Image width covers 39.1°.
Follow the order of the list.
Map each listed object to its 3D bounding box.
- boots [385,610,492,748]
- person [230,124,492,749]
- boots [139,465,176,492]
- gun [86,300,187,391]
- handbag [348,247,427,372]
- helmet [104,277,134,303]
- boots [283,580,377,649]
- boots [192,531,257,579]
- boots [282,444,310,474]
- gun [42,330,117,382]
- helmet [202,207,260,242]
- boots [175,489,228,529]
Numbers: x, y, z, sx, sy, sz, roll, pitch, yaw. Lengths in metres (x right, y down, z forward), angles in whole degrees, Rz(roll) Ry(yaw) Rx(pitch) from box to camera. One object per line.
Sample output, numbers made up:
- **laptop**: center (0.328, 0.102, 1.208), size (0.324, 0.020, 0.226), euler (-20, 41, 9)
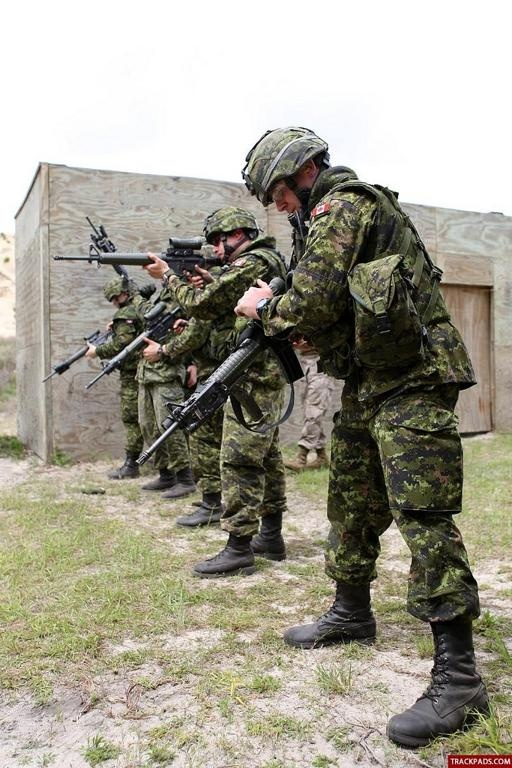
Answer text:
- **boots**: center (0.574, 0.848, 2.106), size (0.385, 0.334, 0.160), euler (-3, 4, -36)
- **person**: center (0.392, 0.023, 2.423), size (0.594, 1.956, 0.943), euler (-2, 4, -23)
- **boots**: center (-0.852, 0.814, 6.162), size (0.318, 0.271, 0.139), euler (5, -5, -7)
- **gun**: center (-1.015, -0.335, 6.134), size (0.111, 1.023, 0.335), euler (38, -16, 34)
- **handbag**: center (0.391, -0.215, 2.202), size (0.229, 0.353, 0.251), euler (1, 3, 27)
- **helmet**: center (-1.266, -0.863, 6.646), size (0.248, 0.184, 0.195), euler (-35, 20, -19)
- **boots**: center (0.318, 0.899, 2.844), size (0.434, 0.280, 0.177), euler (1, -7, 2)
- **boots**: center (-0.208, 0.879, 3.651), size (0.387, 0.241, 0.138), euler (3, -10, -19)
- **boots**: center (0.373, 0.694, 6.675), size (0.322, 0.276, 0.146), euler (10, -5, -9)
- **gun**: center (-1.687, -0.285, 6.758), size (0.090, 0.635, 0.189), euler (31, -24, 46)
- **helmet**: center (-0.147, -0.916, 4.129), size (0.239, 0.188, 0.182), euler (14, 18, 23)
- **boots**: center (-0.434, 0.839, 4.744), size (0.423, 0.263, 0.156), euler (0, -5, -22)
